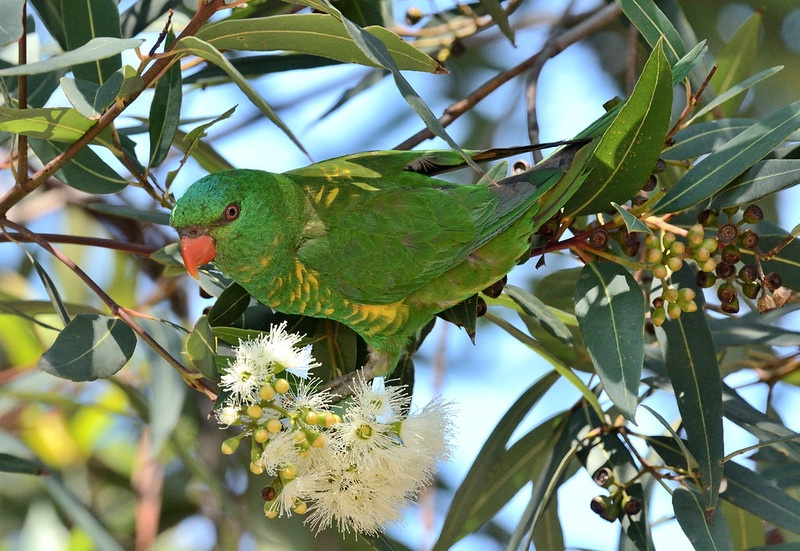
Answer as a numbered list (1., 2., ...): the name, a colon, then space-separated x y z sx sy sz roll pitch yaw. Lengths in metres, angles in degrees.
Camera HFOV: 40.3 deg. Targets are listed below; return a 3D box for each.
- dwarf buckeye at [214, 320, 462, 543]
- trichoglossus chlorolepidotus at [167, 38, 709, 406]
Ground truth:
1. dwarf buckeye: -0.220 0.540 3.617 0.647 0.792 0.621 -3 4 -37
2. trichoglossus chlorolepidotus: 0.142 -0.136 3.813 1.768 0.959 0.509 -19 34 6
